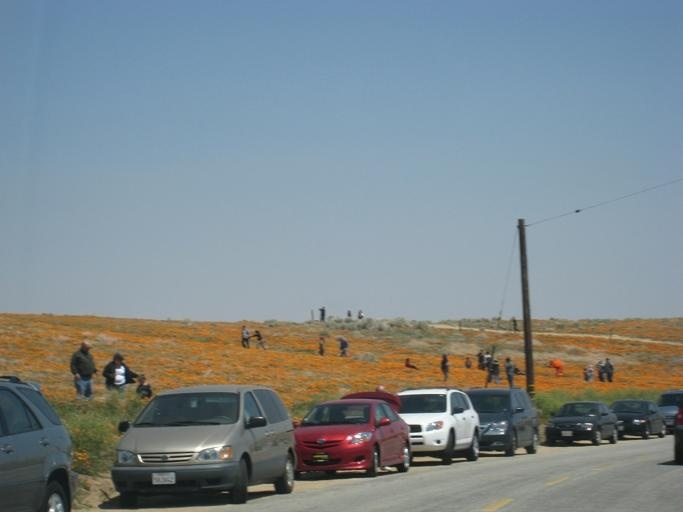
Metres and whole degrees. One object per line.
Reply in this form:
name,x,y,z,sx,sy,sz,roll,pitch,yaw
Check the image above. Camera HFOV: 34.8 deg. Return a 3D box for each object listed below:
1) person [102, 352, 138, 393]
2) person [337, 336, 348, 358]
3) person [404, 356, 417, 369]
person,-6.945,3.630,34.044,0.945,1.153,1.564,3,-2,-11
person,0.135,7.002,82.866,0.702,0.578,1.638,7,-24,6
person,4.972,7.771,77.147,0.890,0.799,0.599,3,4,41
